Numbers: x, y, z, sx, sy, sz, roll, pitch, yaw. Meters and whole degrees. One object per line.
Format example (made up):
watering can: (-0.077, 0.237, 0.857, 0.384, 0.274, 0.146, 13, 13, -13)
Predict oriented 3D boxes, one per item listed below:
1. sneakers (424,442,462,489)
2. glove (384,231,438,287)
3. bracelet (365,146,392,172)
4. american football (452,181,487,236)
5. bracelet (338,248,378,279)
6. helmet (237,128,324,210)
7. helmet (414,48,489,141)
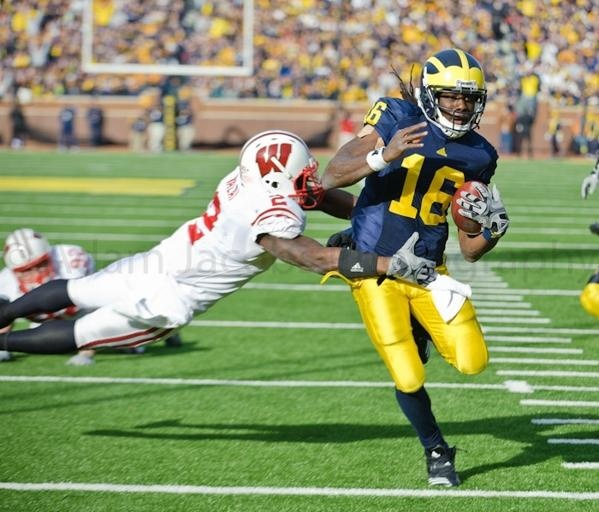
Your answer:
sneakers: (0.663, 0.954, 3.412, 0.160, 0.182, 0.110, 0, 16, 0)
glove: (0.512, 0.024, 3.318, 0.182, 0.238, 0.228, 7, 16, 23)
bracelet: (0.334, -0.420, 3.254, 0.119, 0.076, 0.119, -3, -12, -10)
american football: (0.780, -0.210, 3.428, 0.163, 0.270, 0.167, 3, 17, 9)
bracelet: (0.274, 0.043, 3.342, 0.182, 0.150, 0.125, 4, 16, 14)
helmet: (-0.079, -0.427, 3.680, 0.552, 0.298, 0.333, 16, -1, -9)
helmet: (0.731, -0.761, 3.484, 0.331, 0.419, 0.309, 0, 16, -3)
